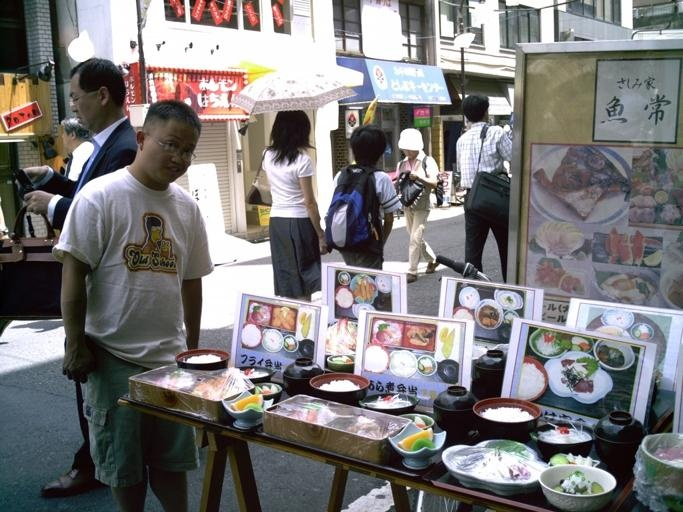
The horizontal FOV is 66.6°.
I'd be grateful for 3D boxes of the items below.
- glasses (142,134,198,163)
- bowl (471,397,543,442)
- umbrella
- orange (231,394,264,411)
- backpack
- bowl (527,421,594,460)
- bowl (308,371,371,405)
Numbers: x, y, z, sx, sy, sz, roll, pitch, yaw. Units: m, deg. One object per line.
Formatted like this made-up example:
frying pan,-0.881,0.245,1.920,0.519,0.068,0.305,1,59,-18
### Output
glasses,-0.879,-0.508,2.595,0.164,0.094,0.199,-2,8,-36
bowl,0.641,0.644,2.039,0.243,0.115,0.189,3,13,24
umbrella,-0.512,-1.863,5.824,1.251,0.465,0.867,-6,13,-15
orange,-0.398,0.625,2.224,0.101,0.040,0.054,-5,-26,-26
backpack,0.109,-0.457,4.870,0.461,0.811,0.570,-9,11,-44
bowl,0.839,0.688,1.968,0.201,0.089,0.250,5,14,29
bowl,-0.009,0.627,2.401,0.255,0.113,0.260,3,2,0
